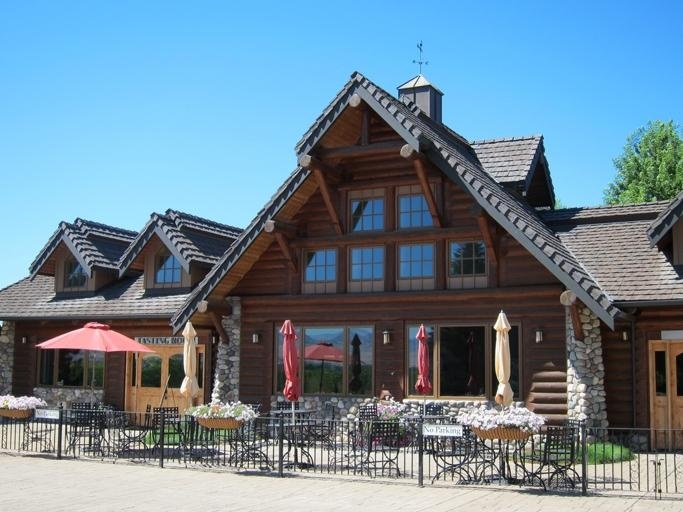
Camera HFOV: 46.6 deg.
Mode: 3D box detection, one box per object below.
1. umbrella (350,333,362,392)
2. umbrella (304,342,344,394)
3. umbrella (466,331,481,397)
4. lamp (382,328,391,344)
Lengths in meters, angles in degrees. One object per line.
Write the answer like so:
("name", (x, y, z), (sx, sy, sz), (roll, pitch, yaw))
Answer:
("umbrella", (0.423, 3.074, 22.792), (0.356, 1.632, 0.475), (-1, 6, 4))
("umbrella", (-0.517, 3.299, 23.491), (1.231, 1.532, 1.255), (5, -2, -27))
("umbrella", (3.639, 2.876, 21.485), (0.444, 1.721, 0.476), (0, 6, 9))
("lamp", (1.290, 2.252, 22.313), (0.293, 0.533, 0.313), (3, -8, -14))
